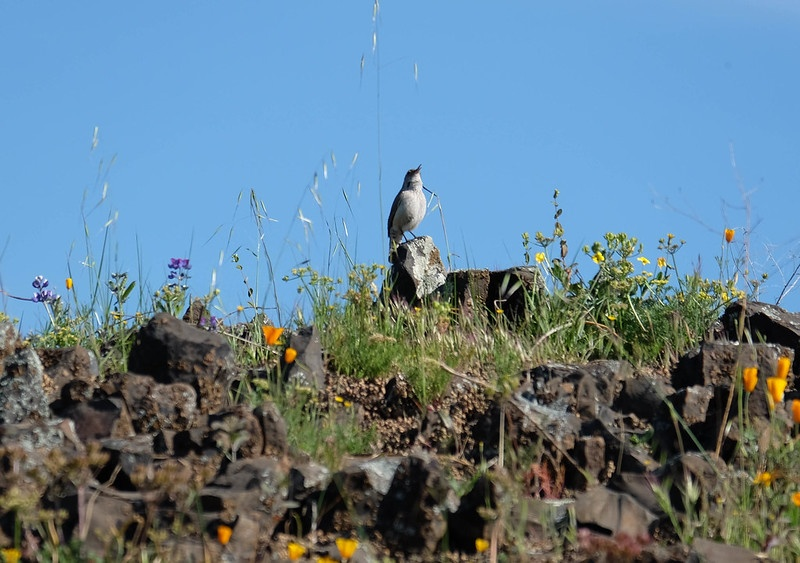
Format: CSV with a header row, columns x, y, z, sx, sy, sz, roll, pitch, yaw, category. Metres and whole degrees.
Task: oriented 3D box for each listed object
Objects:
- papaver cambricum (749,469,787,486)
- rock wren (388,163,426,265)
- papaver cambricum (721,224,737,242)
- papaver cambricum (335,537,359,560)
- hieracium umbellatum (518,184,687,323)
x,y,z,sx,sy,sz,roll,pitch,yaw,category
1.961,1.027,7.813,0.166,0.080,0.330,-4,-7,40,papaver cambricum
0.081,-0.801,17.226,0.401,1.054,1.677,1,-6,-1,rock wren
1.232,-0.170,5.527,0.031,0.064,0.043,-6,33,-7,papaver cambricum
-0.262,1.308,7.305,0.108,0.104,0.130,-1,-51,4,papaver cambricum
1.460,-0.029,10.924,1.195,1.162,1.312,2,-2,1,hieracium umbellatum
